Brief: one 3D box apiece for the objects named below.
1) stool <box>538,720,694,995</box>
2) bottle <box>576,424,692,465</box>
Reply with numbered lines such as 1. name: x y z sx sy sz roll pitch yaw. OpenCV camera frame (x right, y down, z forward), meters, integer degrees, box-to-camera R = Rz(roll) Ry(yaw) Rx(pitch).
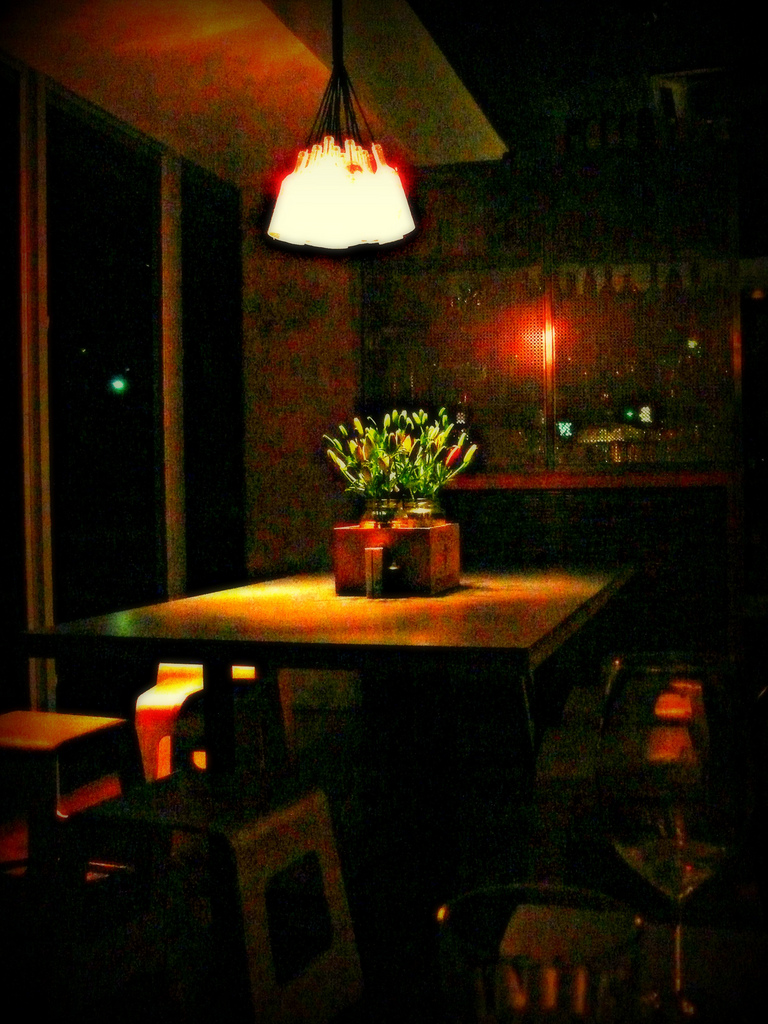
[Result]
1. stool: 0.471 0.666 1.979 0.240 0.708 0.304 0 -7 10
2. bottle: 0.883 -0.239 3.516 0.424 0.154 0.076 -4 1 35
